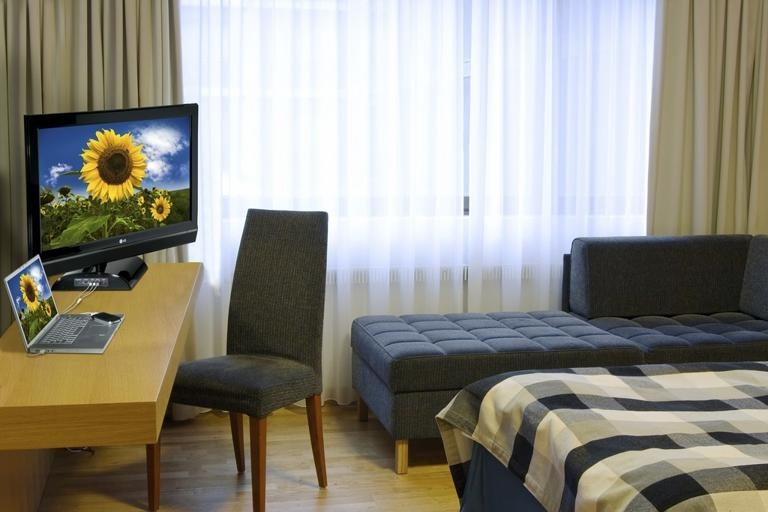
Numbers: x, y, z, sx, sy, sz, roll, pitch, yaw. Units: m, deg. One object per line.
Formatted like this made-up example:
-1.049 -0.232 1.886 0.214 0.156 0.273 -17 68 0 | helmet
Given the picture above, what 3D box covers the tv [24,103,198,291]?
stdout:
-1.348 -0.287 2.953 0.451 0.790 0.950 4 7 30 | tv
